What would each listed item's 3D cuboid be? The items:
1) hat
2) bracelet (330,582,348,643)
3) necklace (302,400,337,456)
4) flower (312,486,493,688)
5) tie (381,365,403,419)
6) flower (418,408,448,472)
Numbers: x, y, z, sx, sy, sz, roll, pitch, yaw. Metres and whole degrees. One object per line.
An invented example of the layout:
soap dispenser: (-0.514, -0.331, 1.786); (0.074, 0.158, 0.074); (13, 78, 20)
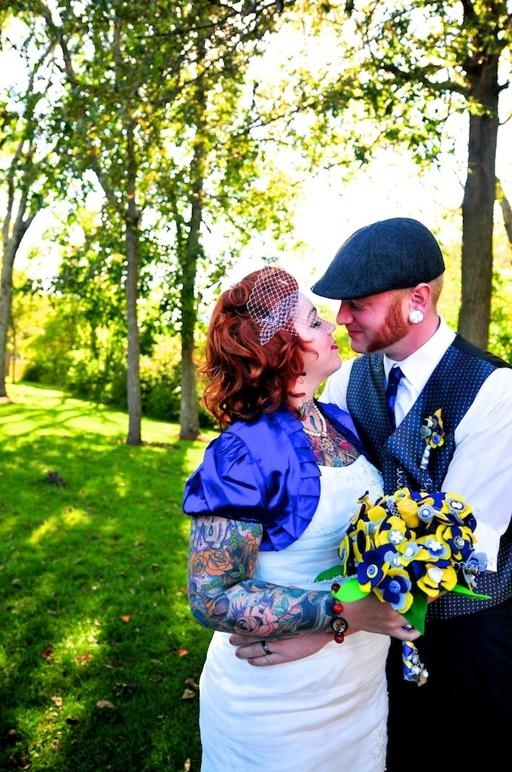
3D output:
hat: (0.481, -0.501, 3.064); (0.475, 0.208, 0.314); (-5, 13, -8)
bracelet: (0.277, 0.788, 2.628); (0.048, 0.156, 0.140); (-3, 13, -2)
necklace: (0.225, 0.167, 3.027); (0.145, 0.189, 0.049); (20, -42, -42)
flower: (0.545, 0.637, 2.616); (0.491, 0.546, 0.518); (-2, 25, 22)
tie: (0.582, 0.024, 3.306); (0.070, 0.238, 0.048); (5, -5, -25)
flower: (0.703, 0.206, 3.084); (0.119, 0.257, 0.089); (-1, -20, 40)
